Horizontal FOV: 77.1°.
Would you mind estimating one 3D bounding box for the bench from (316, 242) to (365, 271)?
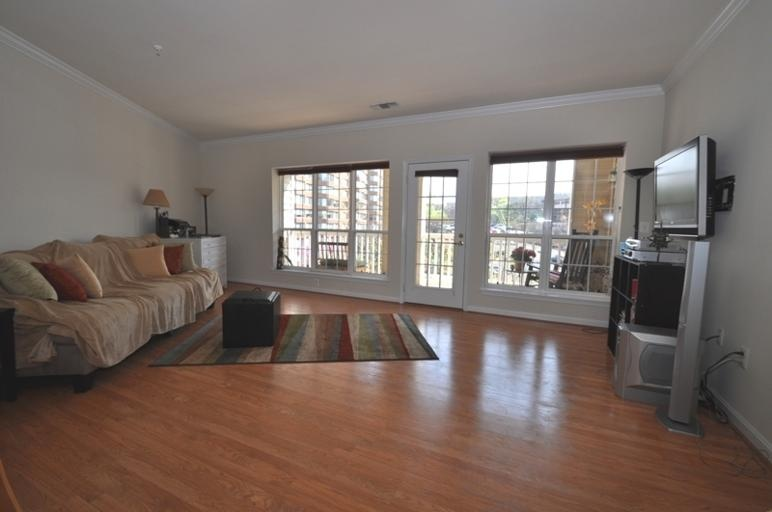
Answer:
[{"bbox_3d":[-0.808,0.010,7.766,0.671,0.456,0.090,5,8,29],"label":"bench"}]

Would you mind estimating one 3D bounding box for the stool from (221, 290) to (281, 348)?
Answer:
[{"bbox_3d":[-1.497,0.699,5.515,0.612,0.499,0.589,0,7,-1],"label":"stool"}]

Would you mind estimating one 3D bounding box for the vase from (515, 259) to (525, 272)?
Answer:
[{"bbox_3d":[1.810,0.150,6.569,0.127,0.143,0.124,5,-3,-43],"label":"vase"}]

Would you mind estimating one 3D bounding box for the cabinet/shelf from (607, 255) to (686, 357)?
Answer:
[{"bbox_3d":[2.575,0.506,4.737,0.354,1.234,1.069,3,3,22],"label":"cabinet/shelf"}]

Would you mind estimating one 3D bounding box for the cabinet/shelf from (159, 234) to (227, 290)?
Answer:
[{"bbox_3d":[-2.878,0.052,7.650,0.423,0.695,0.751,3,7,9],"label":"cabinet/shelf"}]

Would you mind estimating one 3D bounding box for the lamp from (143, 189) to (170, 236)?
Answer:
[{"bbox_3d":[-3.396,-0.641,7.163,0.326,0.689,0.615,-2,7,-24],"label":"lamp"}]

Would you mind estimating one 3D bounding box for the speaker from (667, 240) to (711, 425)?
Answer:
[{"bbox_3d":[2.697,0.695,4.286,0.236,1.651,0.152,3,7,18],"label":"speaker"}]

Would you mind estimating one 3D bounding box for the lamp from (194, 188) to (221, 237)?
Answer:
[{"bbox_3d":[-3.033,-0.753,8.141,0.324,0.798,0.529,-2,7,-21],"label":"lamp"}]

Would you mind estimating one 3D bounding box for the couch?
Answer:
[{"bbox_3d":[-3.144,0.461,5.341,1.482,1.167,2.050,3,7,14],"label":"couch"}]

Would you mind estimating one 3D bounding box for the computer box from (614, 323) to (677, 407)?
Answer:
[{"bbox_3d":[2.448,1.021,4.874,0.771,0.788,0.618,1,2,10],"label":"computer box"}]

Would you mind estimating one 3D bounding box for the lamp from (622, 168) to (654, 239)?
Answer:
[{"bbox_3d":[2.960,-0.628,5.741,0.272,0.841,0.555,4,8,26],"label":"lamp"}]

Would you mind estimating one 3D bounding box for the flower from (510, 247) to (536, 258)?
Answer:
[{"bbox_3d":[1.848,-0.031,6.542,0.172,0.117,0.171,-1,1,-10],"label":"flower"}]

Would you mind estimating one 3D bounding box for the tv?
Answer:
[{"bbox_3d":[2.845,-0.640,4.663,0.269,0.927,0.727,0,7,-5],"label":"tv"}]
